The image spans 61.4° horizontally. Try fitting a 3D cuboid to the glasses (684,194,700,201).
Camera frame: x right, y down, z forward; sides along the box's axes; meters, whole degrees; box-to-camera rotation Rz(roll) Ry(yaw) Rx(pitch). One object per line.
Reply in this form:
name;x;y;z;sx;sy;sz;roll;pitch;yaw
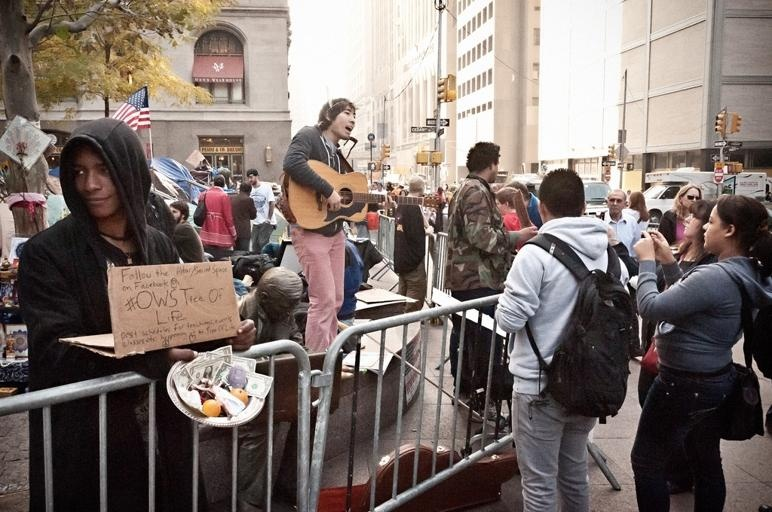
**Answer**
glasses;4.191;-0.793;8.931;0.195;0.056;0.189;3;-3;-21
